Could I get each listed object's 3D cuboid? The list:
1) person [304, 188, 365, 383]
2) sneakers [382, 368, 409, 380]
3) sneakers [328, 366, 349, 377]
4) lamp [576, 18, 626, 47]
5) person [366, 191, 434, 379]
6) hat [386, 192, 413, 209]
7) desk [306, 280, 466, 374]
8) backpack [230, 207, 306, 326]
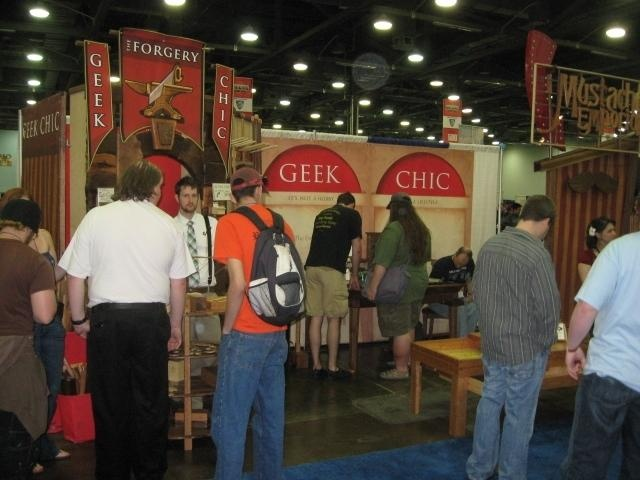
[{"bbox_3d":[0.141,0.527,6.966,0.602,1.790,0.467,0,9,-2],"label":"person"},{"bbox_3d":[0.811,1.435,6.881,0.290,0.124,0.120,1,-1,6],"label":"sneakers"},{"bbox_3d":[0.222,1.412,6.971,0.249,0.104,0.099,4,0,-34],"label":"sneakers"},{"bbox_3d":[4.455,-3.308,10.199,0.558,0.189,0.804,-2,0,-5],"label":"lamp"},{"bbox_3d":[0.802,0.516,6.721,0.665,1.966,0.404,-7,12,-40],"label":"person"},{"bbox_3d":[0.816,-0.411,6.796,0.245,0.135,0.183,1,4,39],"label":"hat"},{"bbox_3d":[0.933,0.959,7.877,1.428,0.922,1.161,-3,4,-10],"label":"desk"},{"bbox_3d":[-0.325,0.167,4.327,0.446,0.758,0.338,-1,9,-7],"label":"backpack"}]
